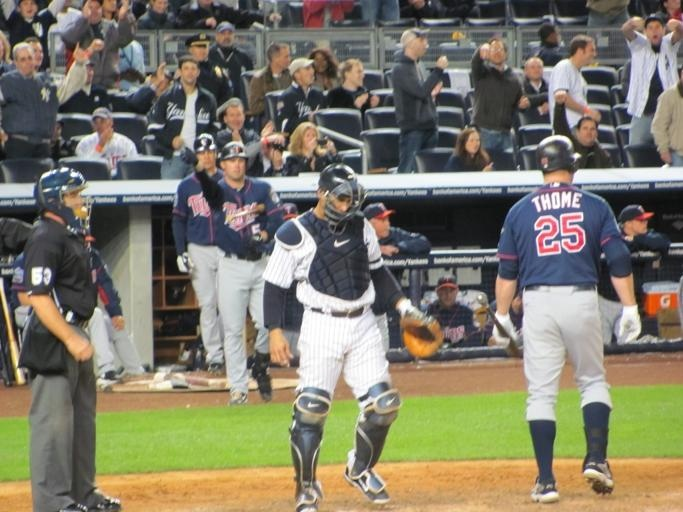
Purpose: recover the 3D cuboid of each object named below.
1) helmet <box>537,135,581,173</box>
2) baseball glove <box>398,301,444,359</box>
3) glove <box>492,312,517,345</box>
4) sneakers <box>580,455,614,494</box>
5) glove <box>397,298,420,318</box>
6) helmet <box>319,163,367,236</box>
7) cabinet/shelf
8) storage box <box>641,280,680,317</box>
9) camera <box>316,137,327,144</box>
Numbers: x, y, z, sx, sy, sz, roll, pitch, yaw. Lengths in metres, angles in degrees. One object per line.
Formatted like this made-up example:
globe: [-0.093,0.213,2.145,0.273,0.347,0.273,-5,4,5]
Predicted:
helmet: [2.062,-0.981,17.663,0.273,0.310,0.377,-8,1,17]
baseball glove: [0.755,0.649,17.681,0.366,0.554,0.402,2,9,2]
glove: [1.549,0.691,17.723,0.207,0.288,0.102,2,-13,-37]
sneakers: [2.378,2.019,17.133,0.153,0.247,0.438,0,-25,33]
glove: [0.638,0.499,17.651,0.136,0.203,0.223,-29,-8,-9]
helmet: [-0.011,-0.583,17.416,0.313,0.716,0.326,-5,14,-19]
cabinet/shelf: [-2.051,0.384,22.363,0.489,1.733,0.317,-2,12,-15]
storage box: [3.727,0.489,21.685,0.361,0.397,0.384,0,0,15]
camera: [-0.219,-1.341,21.499,0.133,0.096,0.200,-3,2,-1]
